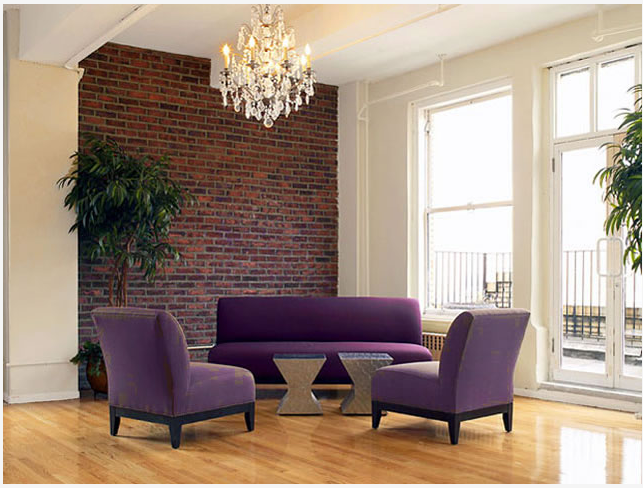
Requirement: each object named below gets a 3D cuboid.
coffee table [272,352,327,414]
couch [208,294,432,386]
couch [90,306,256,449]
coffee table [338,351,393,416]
[{"bbox_3d":[-0.173,1.341,5.041,0.499,0.537,0.527,-1,-1,2],"label":"coffee table"},{"bbox_3d":[-0.041,1.140,5.819,2.365,1.131,1.081,0,-4,1],"label":"couch"},{"bbox_3d":[-1.244,1.075,4.409,1.288,1.042,1.260,2,-7,-23],"label":"couch"},{"bbox_3d":[0.397,1.328,5.043,0.530,0.523,0.538,1,-6,-3],"label":"coffee table"}]
